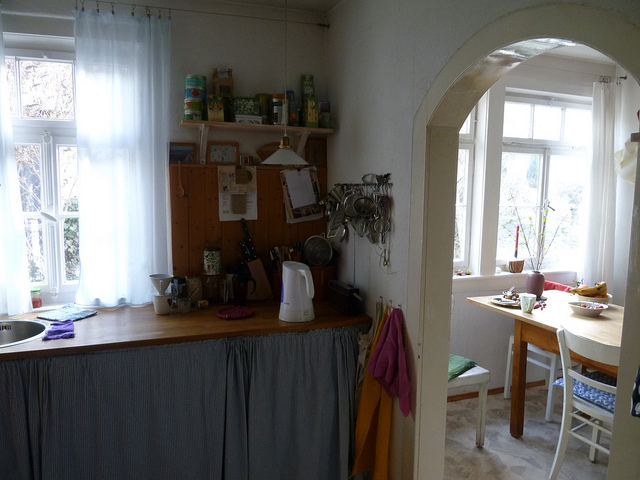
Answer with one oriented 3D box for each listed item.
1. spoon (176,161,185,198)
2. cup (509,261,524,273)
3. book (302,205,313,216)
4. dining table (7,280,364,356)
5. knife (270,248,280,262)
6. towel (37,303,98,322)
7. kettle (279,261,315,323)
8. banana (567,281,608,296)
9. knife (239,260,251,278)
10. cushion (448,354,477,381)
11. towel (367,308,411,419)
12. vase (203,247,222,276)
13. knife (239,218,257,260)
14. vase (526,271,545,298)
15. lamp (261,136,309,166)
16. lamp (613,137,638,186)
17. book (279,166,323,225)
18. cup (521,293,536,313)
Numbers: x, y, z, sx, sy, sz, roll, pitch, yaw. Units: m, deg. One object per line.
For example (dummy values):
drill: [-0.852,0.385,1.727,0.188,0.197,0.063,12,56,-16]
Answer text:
spoon: [-1.013,-0.425,3.694,0.056,0.225,0.022,-7,10,-44]
cup: [1.746,0.237,4.522,0.093,0.082,0.100,2,-2,0]
book: [-0.100,-0.234,3.969,0.072,0.084,0.019,-4,4,-17]
dining table: [-0.840,0.427,3.500,2.179,0.307,0.806,-2,7,-13]
knife: [-0.344,0.114,3.870,0.034,0.158,0.035,-20,9,-17]
towel: [-1.720,0.500,3.481,0.326,0.038,0.281,4,8,26]
kettle: [-0.130,0.344,3.413,0.223,0.391,0.341,-5,5,-29]
banana: [2.169,0.413,4.186,0.160,0.096,0.258,-11,-10,-13]
knife: [-0.552,0.218,3.767,0.079,0.107,0.183,-1,7,-11]
cushion: [1.030,0.928,3.735,0.226,0.067,0.229,-7,1,-39]
towel: [0.467,0.769,3.128,0.267,0.640,0.225,16,22,32]
vase: [-0.781,0.156,3.757,0.137,0.213,0.096,-3,8,-25]
knife: [-0.535,-0.012,3.828,0.073,0.299,0.154,-5,9,-37]
vase: [1.777,0.359,4.210,0.162,0.266,0.174,6,2,15]
lamp: [-0.226,-0.553,3.323,0.196,0.124,0.209,3,7,16]
lamp: [1.831,-0.471,3.060,0.115,0.261,1.038,4,8,30]
book: [-0.143,-0.353,3.965,0.327,0.417,0.102,-4,8,-29]
cup: [1.588,0.477,3.893,0.092,0.133,0.123,3,7,1]
